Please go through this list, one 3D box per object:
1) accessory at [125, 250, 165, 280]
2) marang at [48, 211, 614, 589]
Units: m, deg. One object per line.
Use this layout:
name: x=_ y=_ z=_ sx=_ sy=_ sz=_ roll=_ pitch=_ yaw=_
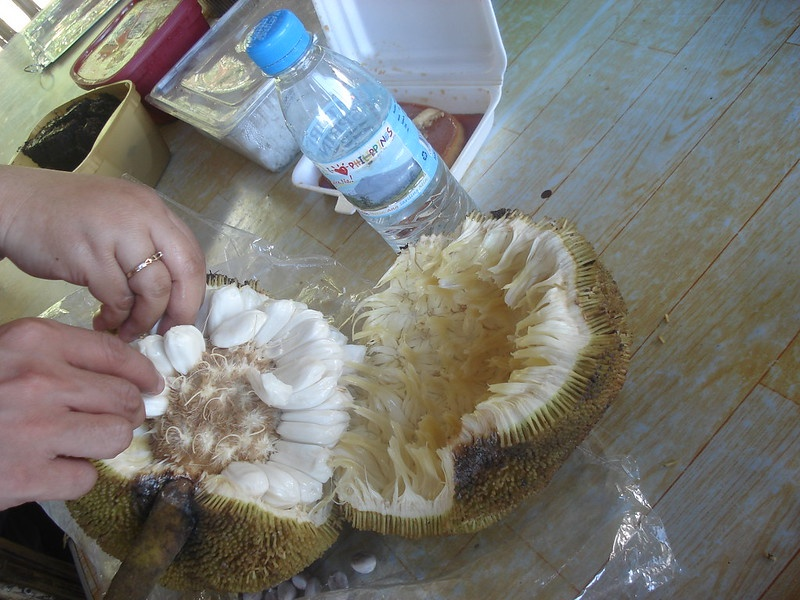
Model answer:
accessory: x=-0.377 y=-0.052 z=1.018 sx=0.042 sy=0.042 sz=0.010 roll=-41 pitch=90 yaw=22
marang: x=-0.073 y=0.149 z=1.094 sx=0.765 sy=0.430 sz=0.535 roll=-18 pitch=75 yaw=28
